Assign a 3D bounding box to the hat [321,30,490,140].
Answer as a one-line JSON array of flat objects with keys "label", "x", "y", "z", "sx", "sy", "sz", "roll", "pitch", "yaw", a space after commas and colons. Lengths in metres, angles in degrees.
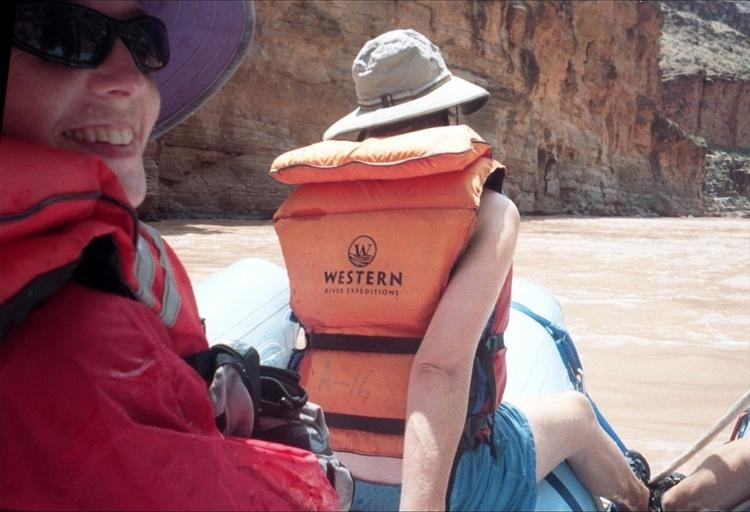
[{"label": "hat", "x": 0.110, "y": -0.546, "z": 2.042, "sx": 0.421, "sy": 0.237, "sz": 0.396, "roll": -28, "pitch": 15, "yaw": -10}]
